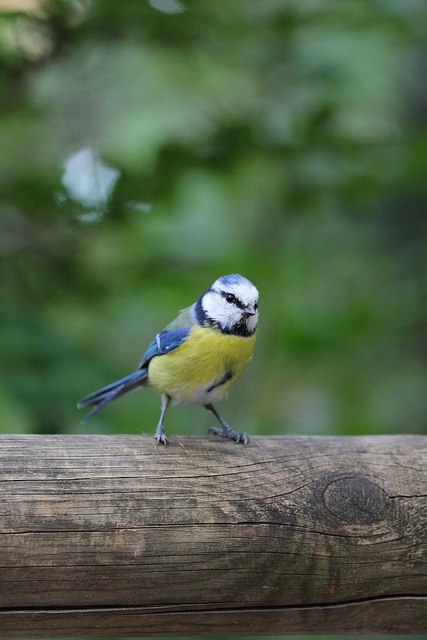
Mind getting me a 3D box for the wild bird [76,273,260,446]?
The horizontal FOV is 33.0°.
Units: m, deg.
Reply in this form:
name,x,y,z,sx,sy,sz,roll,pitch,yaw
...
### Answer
name,x,y,z,sx,sy,sz,roll,pitch,yaw
wild bird,-0.179,0.178,3.359,1.099,0.438,0.725,-2,80,42
